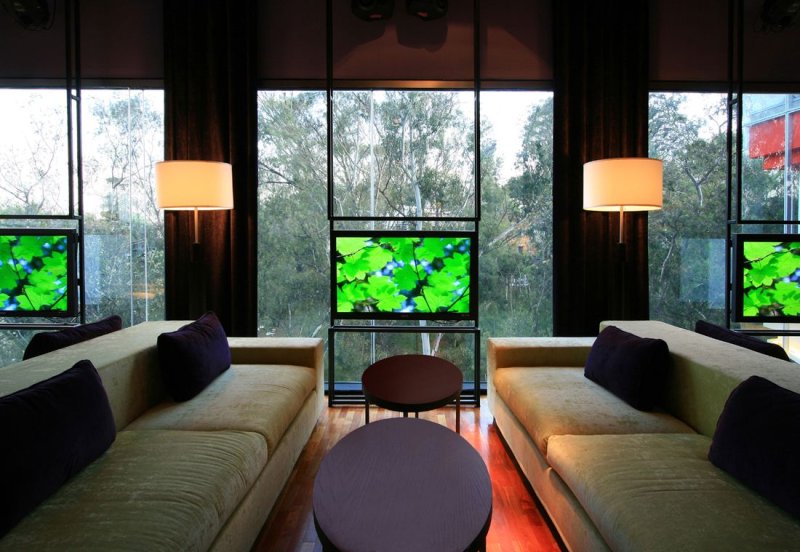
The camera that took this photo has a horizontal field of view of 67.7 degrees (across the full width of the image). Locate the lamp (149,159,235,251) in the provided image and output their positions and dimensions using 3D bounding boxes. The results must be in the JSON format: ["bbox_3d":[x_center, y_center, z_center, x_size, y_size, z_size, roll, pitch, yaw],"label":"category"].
[{"bbox_3d":[-1.713,-0.617,5.161,0.576,1.037,0.607,-1,5,-8],"label":"lamp"}]

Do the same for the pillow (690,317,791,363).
[{"bbox_3d":[2.467,0.465,4.286,0.391,0.160,0.413,11,0,44],"label":"pillow"}]

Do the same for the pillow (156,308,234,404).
[{"bbox_3d":[-1.505,0.613,4.381,0.175,0.362,0.530,-4,9,9],"label":"pillow"}]
